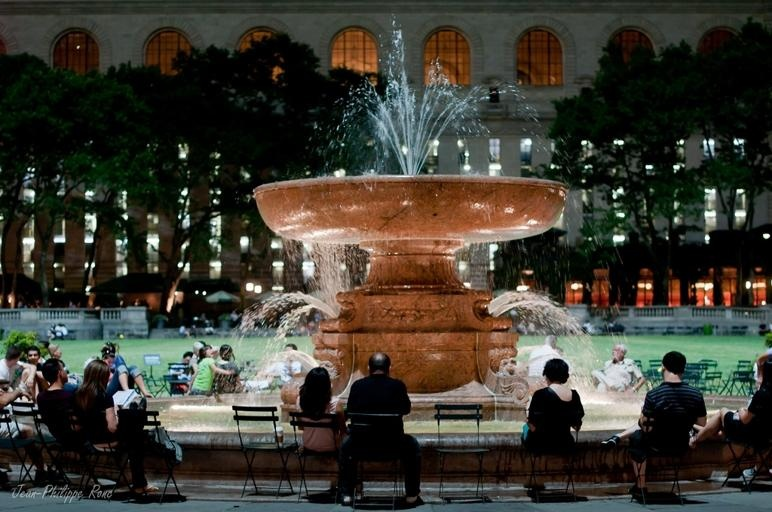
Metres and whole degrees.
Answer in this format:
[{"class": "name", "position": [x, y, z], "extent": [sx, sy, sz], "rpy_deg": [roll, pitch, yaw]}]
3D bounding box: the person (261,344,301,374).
[{"class": "person", "position": [-4.816, 5.099, 81.018], "extent": [1.509, 1.679, 0.652], "rpy_deg": [1, -3, 5]}]

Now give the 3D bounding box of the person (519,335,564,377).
[{"class": "person", "position": [7.344, 4.532, 77.662], "extent": [1.598, 1.986, 0.722], "rpy_deg": [7, -42, 19]}]
